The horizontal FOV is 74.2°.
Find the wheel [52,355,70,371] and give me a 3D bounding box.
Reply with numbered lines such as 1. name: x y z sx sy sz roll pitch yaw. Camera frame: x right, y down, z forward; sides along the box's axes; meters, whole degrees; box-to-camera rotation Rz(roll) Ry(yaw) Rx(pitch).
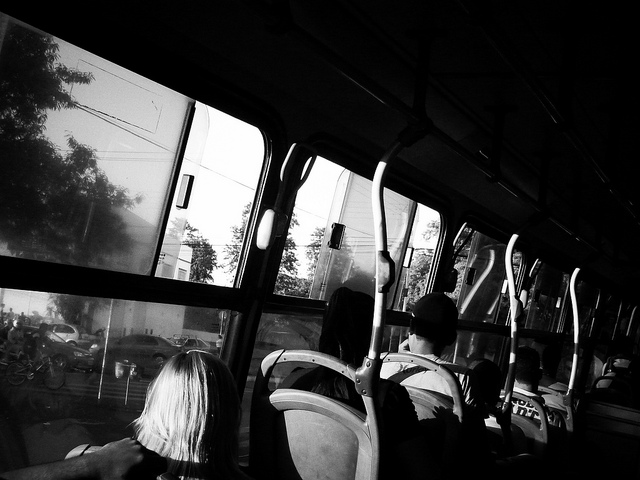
1. wheel: -1.416 0.669 2.297 0.089 0.096 0.029 4 5 -37

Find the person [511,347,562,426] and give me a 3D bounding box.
1. person: 2.446 1.724 4.908 0.342 0.701 0.739 -5 -11 -17

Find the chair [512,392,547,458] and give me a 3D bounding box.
1. chair: 1.952 1.717 3.924 0.309 0.463 0.391 5 -8 26
